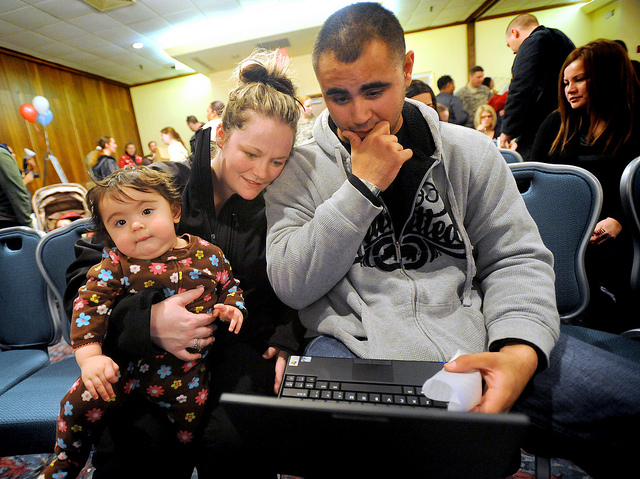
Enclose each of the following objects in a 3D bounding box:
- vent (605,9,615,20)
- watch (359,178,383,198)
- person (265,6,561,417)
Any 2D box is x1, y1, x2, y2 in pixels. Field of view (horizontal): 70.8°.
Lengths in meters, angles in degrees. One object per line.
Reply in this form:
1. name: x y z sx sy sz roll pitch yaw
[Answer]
1. vent: 3.681 -2.863 5.698 0.027 0.104 0.112 21 -4 -6
2. watch: 0.181 -0.191 1.727 0.071 0.069 0.072 -21 41 45
3. person: 0.311 -0.183 1.715 1.122 1.389 0.736 4 19 30
